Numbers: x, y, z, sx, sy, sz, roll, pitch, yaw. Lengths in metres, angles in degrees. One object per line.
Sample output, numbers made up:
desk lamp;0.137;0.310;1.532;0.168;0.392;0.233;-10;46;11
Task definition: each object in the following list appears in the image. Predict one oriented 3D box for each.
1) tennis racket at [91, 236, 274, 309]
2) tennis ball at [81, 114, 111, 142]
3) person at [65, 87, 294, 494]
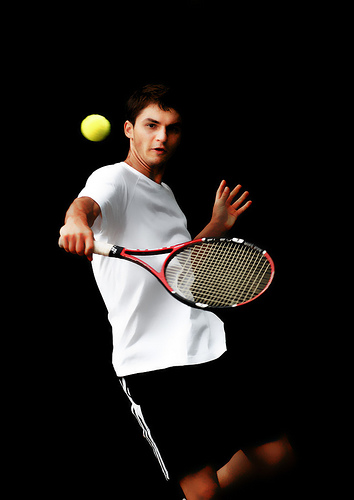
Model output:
tennis racket;0.124;0.100;2.678;0.718;0.408;0.552;-7;7;14
tennis ball;-0.476;-0.726;3.080;0.166;0.157;0.107;-3;9;38
person;-0.012;0.207;2.880;1.013;2.280;0.959;-10;7;-8
